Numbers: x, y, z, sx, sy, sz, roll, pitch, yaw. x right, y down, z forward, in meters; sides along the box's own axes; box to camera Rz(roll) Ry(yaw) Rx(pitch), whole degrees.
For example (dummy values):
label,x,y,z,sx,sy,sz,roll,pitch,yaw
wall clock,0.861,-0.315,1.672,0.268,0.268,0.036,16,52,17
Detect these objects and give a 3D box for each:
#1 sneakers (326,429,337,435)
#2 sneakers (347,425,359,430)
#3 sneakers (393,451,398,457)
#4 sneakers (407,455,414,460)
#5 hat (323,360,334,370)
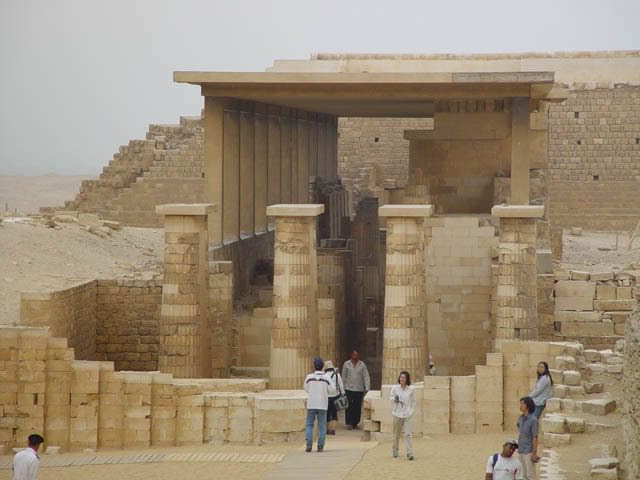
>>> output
label,x,y,z,sx,sy,sz,roll,pitch,yaw
sneakers,0.218,3.820,32.351,0.092,0.102,0.167,5,7,39
sneakers,0.668,3.814,33.276,0.245,0.157,0.081,2,-7,-4
sneakers,1.391,3.956,29.996,0.107,0.092,0.195,0,-5,1
sneakers,1.673,3.989,29.857,0.098,0.101,0.203,-3,-7,33
hat,0.153,2.426,31.605,0.159,0.111,0.198,2,5,4
